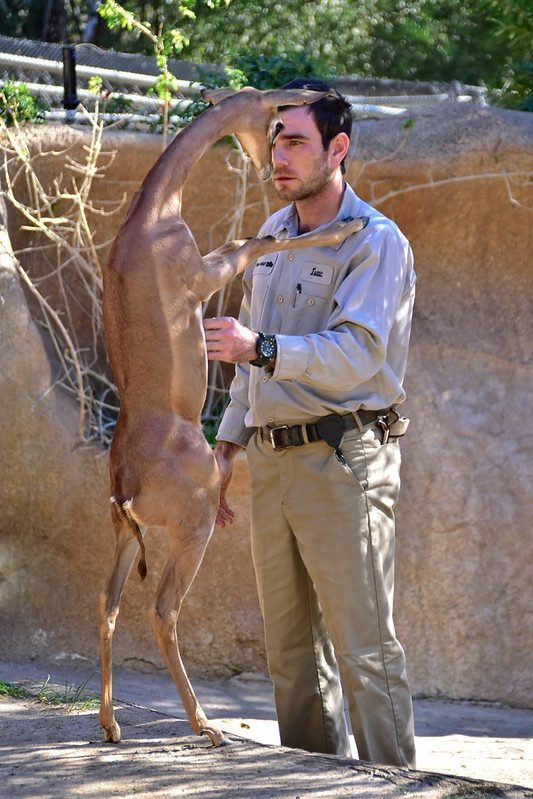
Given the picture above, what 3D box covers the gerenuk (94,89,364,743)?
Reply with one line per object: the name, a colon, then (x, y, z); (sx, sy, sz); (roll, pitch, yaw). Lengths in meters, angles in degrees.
gerenuk: (-0.231, 0.077, 3.489); (0.616, 2.090, 0.450); (4, -3, -9)
